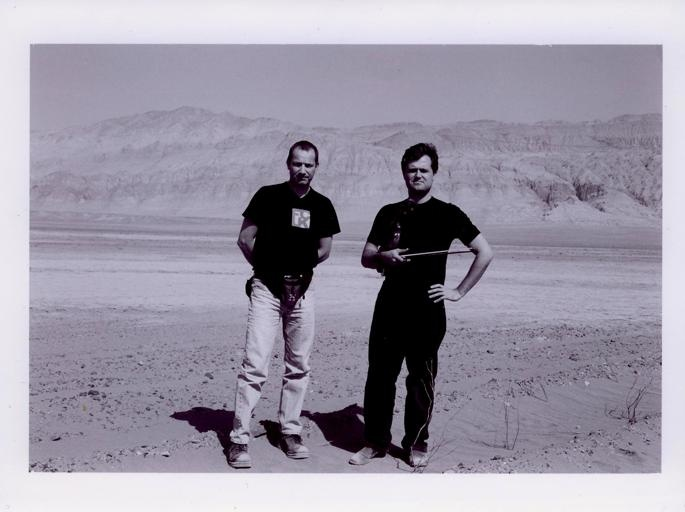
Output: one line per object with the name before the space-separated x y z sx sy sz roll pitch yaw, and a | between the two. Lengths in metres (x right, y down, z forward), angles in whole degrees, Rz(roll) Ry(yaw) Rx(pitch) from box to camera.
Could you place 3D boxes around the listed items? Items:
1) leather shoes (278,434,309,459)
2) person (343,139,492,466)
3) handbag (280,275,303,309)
leather shoes | -0.444 1.754 7.033 0.152 0.153 0.329 3 -1 -43
person | 0.646 0.501 6.887 1.135 3.018 0.433 1 9 8
handbag | -0.439 0.320 6.844 0.195 0.250 0.218 5 50 0
